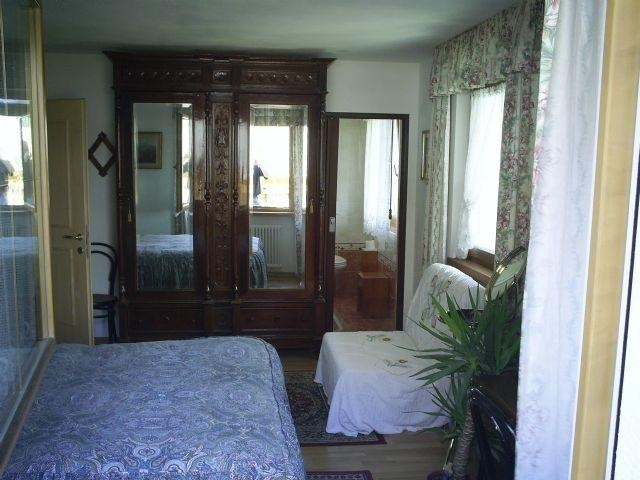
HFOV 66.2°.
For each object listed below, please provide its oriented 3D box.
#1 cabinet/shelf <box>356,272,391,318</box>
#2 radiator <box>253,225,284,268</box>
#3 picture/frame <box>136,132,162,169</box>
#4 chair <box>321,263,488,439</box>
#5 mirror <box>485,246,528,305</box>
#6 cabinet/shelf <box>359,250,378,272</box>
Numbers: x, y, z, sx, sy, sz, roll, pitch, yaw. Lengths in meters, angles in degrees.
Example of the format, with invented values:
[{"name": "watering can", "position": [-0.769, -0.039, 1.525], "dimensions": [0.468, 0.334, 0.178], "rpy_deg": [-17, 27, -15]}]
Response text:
[{"name": "cabinet/shelf", "position": [0.641, 0.609, 6.011], "dimensions": [0.422, 0.569, 0.585], "rpy_deg": [1, 6, 1]}, {"name": "radiator", "position": [-0.510, 0.030, 4.806], "dimensions": [0.389, 0.431, 0.045], "rpy_deg": [0, 3, -3]}, {"name": "picture/frame", "position": [-1.615, -0.879, 4.656], "dimensions": [0.318, 0.393, 0.017], "rpy_deg": [1, 5, -5]}, {"name": "chair", "position": [0.553, 0.767, 3.921], "dimensions": [1.058, 1.086, 1.244], "rpy_deg": [0, 3, -2]}, {"name": "mirror", "position": [1.041, 0.168, 2.706], "dimensions": [0.164, 0.213, 0.525], "rpy_deg": [6, 21, 22]}, {"name": "cabinet/shelf", "position": [0.639, 0.248, 6.502], "dimensions": [0.240, 0.470, 0.248], "rpy_deg": [-1, 6, -3]}]
